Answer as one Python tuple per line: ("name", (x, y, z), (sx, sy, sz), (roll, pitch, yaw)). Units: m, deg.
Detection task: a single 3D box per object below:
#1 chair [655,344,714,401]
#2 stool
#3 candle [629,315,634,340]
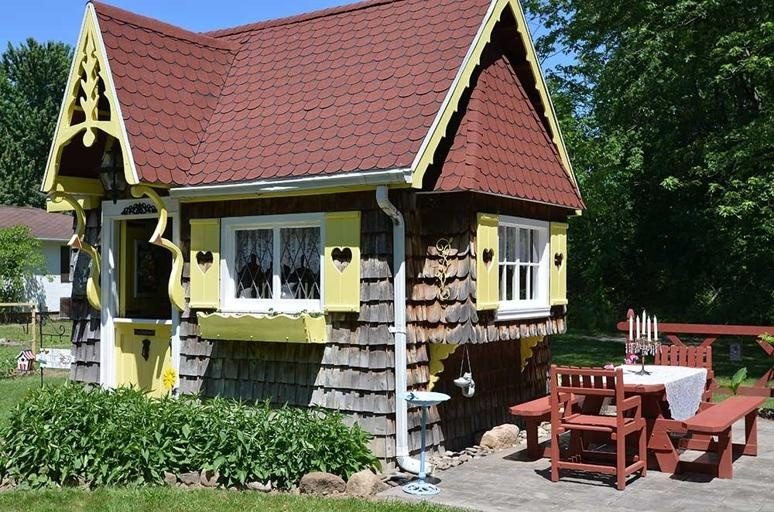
("chair", (6.644, 2.794, 19.724), (1.296, 1.426, 1.349), (-1, 25, 17))
("stool", (0.617, 3.293, 15.997), (0.740, 1.755, 1.231), (2, -7, -7))
("candle", (4.766, 1.374, 17.241), (0.066, 0.435, 0.228), (-2, -7, 24))
